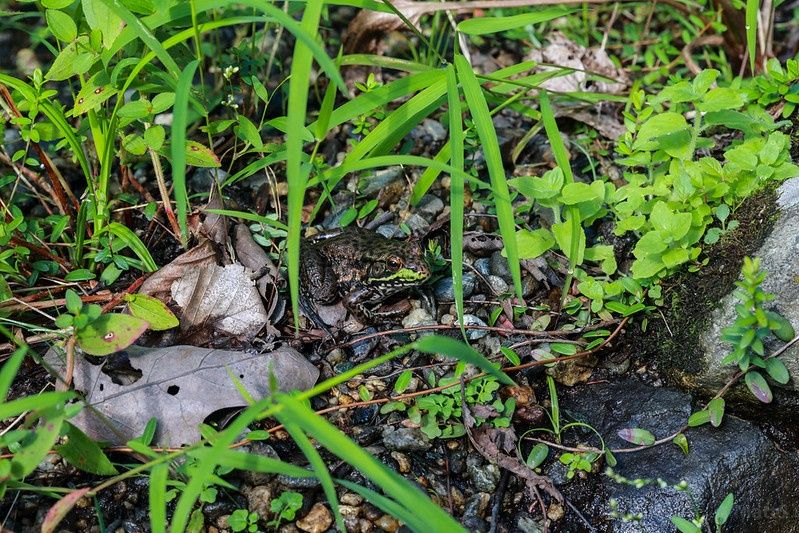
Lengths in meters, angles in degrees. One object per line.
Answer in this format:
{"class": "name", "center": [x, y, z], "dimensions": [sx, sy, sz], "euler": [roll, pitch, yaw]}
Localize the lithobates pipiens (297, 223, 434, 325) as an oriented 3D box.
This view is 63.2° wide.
{"class": "lithobates pipiens", "center": [-0.308, 0.062, 4.825], "dimensions": [0.782, 0.303, 0.790], "euler": [26, 42, 22]}
